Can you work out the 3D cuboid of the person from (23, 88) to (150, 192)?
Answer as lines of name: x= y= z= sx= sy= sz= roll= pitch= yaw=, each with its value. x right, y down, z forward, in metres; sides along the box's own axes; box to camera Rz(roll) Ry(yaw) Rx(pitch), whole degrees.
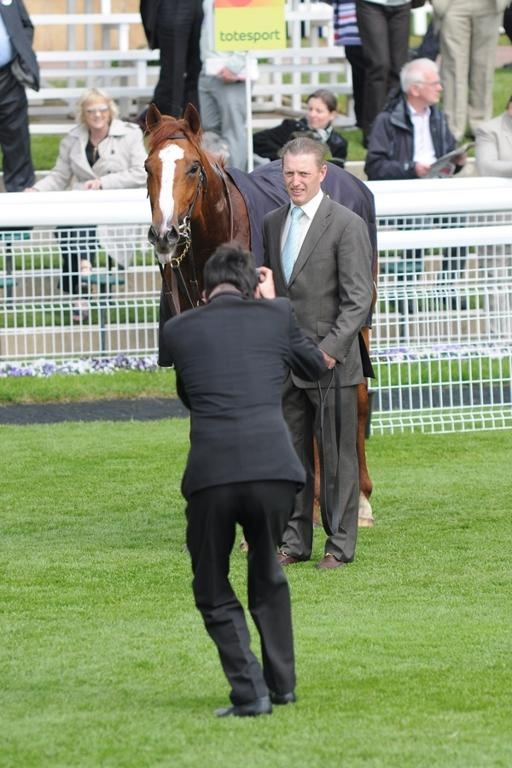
person: x=-0.976 y=-1.441 z=11.407 sx=0.642 sy=0.627 sz=0.555 roll=1 pitch=11 yaw=5

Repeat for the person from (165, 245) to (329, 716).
person: x=-0.021 y=0.296 z=6.422 sx=0.521 sy=1.482 sz=0.405 roll=-9 pitch=13 yaw=-44

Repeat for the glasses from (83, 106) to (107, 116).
glasses: x=-0.934 y=-1.598 z=11.228 sx=0.136 sy=0.067 sz=0.085 roll=-2 pitch=12 yaw=-9
